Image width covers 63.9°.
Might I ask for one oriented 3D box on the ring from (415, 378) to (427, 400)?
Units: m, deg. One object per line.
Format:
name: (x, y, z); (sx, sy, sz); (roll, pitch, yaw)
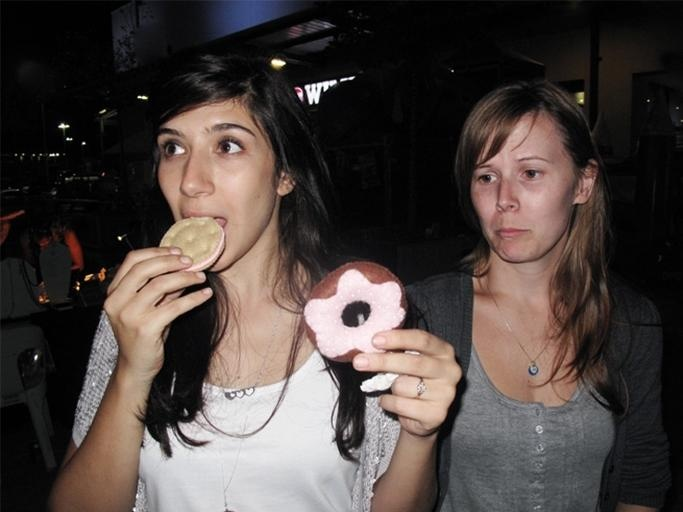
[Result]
ring: (0.398, 0.674, 2.746); (0.060, 0.082, 0.029); (3, -1, -19)

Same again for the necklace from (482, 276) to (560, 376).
necklace: (1.146, 0.443, 3.659); (0.106, 0.692, 0.235); (-13, -28, -46)

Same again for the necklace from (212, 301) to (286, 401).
necklace: (-0.539, 0.596, 3.318); (0.363, 0.498, 0.117); (-2, -17, -2)

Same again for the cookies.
cookies: (-0.833, -0.076, 3.093); (0.245, 0.294, 0.353); (-6, 7, -42)
